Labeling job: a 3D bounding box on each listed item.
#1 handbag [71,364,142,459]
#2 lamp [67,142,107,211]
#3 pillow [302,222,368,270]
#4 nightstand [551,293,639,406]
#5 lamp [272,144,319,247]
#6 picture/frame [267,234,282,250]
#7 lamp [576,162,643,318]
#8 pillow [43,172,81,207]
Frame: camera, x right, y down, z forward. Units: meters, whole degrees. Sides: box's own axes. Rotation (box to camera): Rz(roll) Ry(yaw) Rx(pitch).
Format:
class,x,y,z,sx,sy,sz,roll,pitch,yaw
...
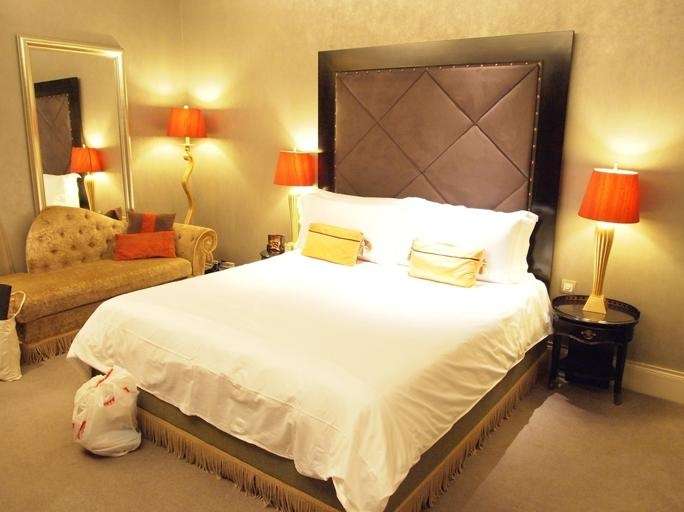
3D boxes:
class,x,y,z,sx,sy,sz,roll,pitch,yaw
handbag,-1.438,0.954,3.366,0.432,0.529,0.484,10,8,40
lamp,-2.586,-0.748,5.320,0.285,0.692,0.282,-10,20,-31
pillow,-0.081,-0.100,4.461,0.499,0.295,0.197,12,6,25
nightstand,1.845,0.594,4.041,0.697,0.814,0.680,7,12,38
lamp,-0.476,-0.553,5.156,0.415,0.902,0.431,7,9,28
picture/frame,-0.651,-0.127,5.142,0.146,0.154,0.149,7,12,32
lamp,1.944,-0.102,3.772,0.423,1.042,0.329,-4,13,-31
pillow,-2.719,-0.631,5.028,0.083,0.311,0.278,9,8,43
